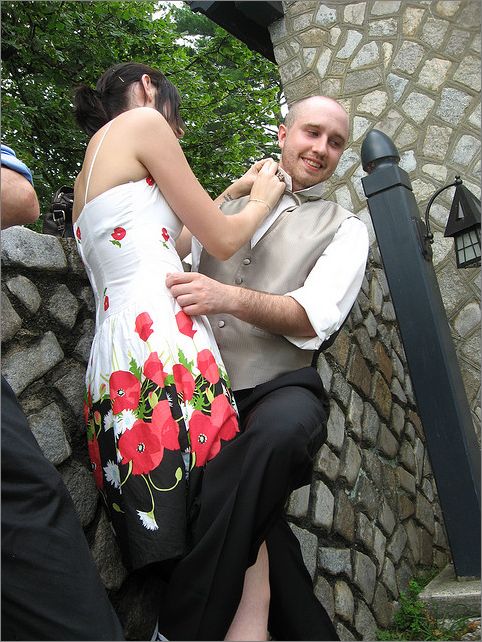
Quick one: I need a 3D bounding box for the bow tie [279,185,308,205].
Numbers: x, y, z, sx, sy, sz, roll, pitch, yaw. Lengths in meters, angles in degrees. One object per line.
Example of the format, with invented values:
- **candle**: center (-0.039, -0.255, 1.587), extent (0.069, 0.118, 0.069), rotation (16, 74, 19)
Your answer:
- **bow tie**: center (0.182, -0.424, 1.611), extent (0.060, 0.062, 0.085), rotation (-26, 6, -21)
